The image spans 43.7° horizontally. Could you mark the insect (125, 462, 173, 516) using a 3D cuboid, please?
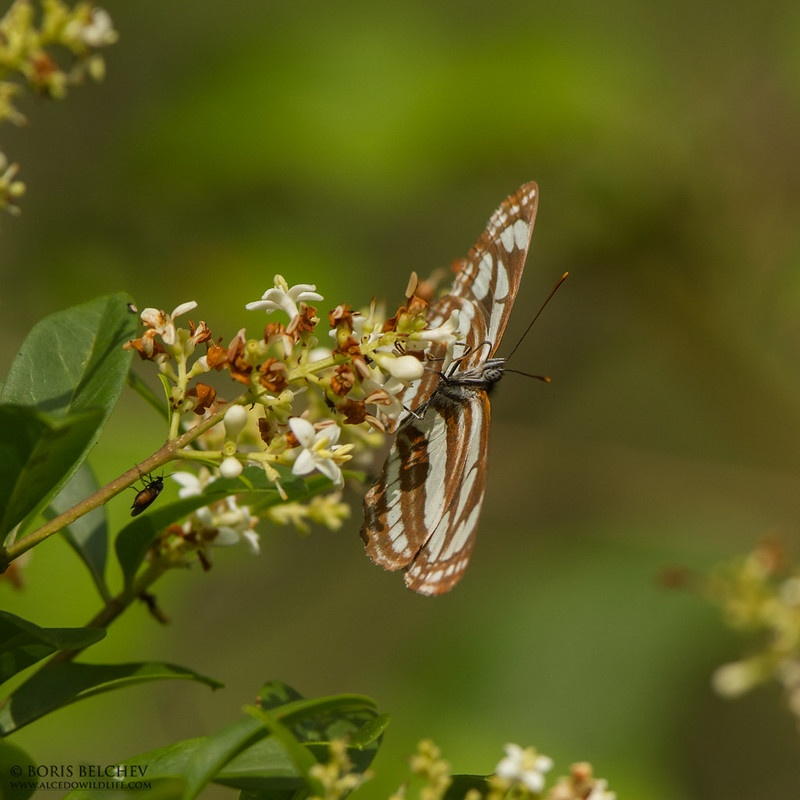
[{"bbox_3d":[-0.807,0.283,3.139,0.064,0.207,0.142,18,-56,27],"label":"insect"}]
